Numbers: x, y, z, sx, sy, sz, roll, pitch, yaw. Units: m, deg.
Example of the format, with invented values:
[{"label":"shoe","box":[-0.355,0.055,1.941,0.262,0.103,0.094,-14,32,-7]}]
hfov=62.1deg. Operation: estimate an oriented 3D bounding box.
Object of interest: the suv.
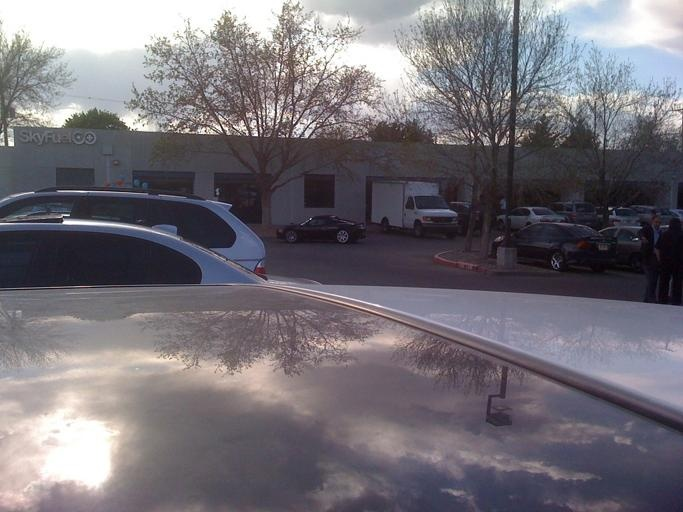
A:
[{"label":"suv","box":[-2.434,-0.478,6.620,3.039,1.221,1.320,6,-3,-2]}]

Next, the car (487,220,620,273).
[{"label":"car","box":[7.388,-0.311,18.991,1.096,1.455,3.016,-4,11,-31]}]

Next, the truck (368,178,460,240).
[{"label":"truck","box":[4.652,-2.840,34.200,2.847,2.826,5.227,-3,6,-27]}]

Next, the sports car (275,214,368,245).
[{"label":"sports car","box":[-0.856,-1.245,27.857,3.207,1.252,1.840,2,1,2]}]
